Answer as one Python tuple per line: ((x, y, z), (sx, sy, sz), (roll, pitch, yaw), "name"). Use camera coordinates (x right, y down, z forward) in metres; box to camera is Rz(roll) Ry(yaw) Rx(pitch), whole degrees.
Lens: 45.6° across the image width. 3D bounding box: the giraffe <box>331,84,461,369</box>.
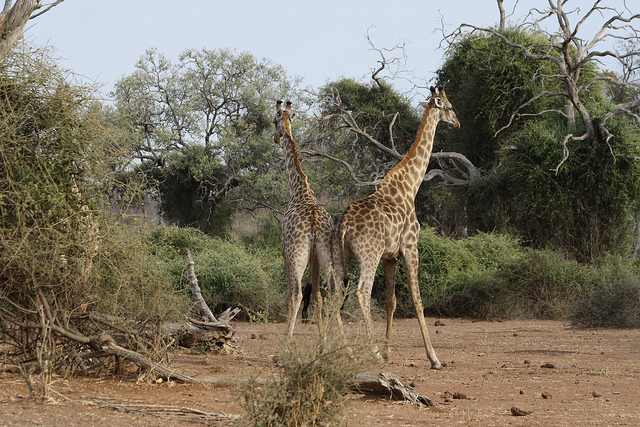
((1.314, -0.054, 14.487), (2.036, 5.923, 4.230), (-5, -14, 24), "giraffe")
